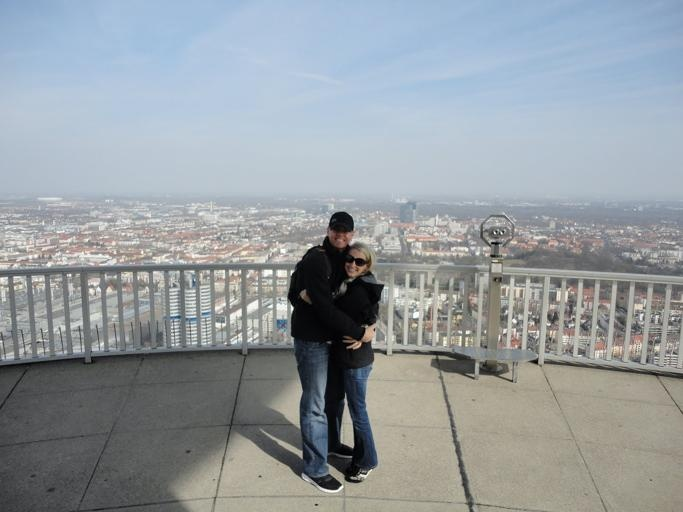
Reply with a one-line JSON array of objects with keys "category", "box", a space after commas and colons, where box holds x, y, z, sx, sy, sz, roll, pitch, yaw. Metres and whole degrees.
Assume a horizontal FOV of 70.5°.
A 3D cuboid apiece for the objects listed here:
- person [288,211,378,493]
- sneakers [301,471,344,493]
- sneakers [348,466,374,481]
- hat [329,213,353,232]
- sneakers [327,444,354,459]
[{"category": "person", "box": [-0.128, 0.761, 3.807, 0.559, 2.185, 0.465, -1, 11, -6]}, {"category": "sneakers", "box": [-0.155, 1.783, 3.850, 0.265, 0.100, 0.139, 4, 4, 21]}, {"category": "sneakers", "box": [0.156, 1.763, 3.943, 0.196, 0.134, 0.090, -3, 12, 2]}, {"category": "hat", "box": [-0.005, -0.262, 3.727, 0.189, 0.143, 0.099, 1, 11, 5]}, {"category": "sneakers", "box": [-0.007, 1.664, 4.111, 0.224, 0.089, 0.105, -1, 5, 9]}]
